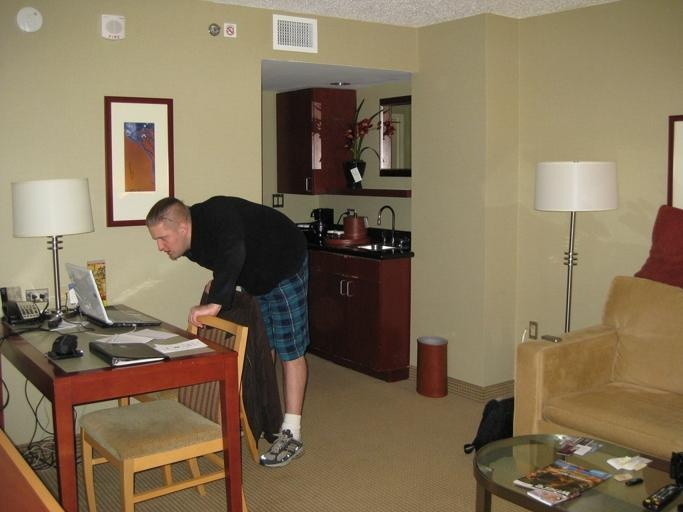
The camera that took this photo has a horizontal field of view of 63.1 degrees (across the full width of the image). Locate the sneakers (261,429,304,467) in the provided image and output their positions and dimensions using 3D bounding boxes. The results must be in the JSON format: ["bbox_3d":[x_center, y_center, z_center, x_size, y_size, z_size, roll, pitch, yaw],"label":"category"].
[{"bbox_3d":[-0.361,1.214,3.537,0.130,0.166,0.321,1,-1,31],"label":"sneakers"}]

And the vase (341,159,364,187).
[{"bbox_3d":[0.132,-0.828,5.538,0.246,0.269,0.250,0,-1,1],"label":"vase"}]

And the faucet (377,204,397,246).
[{"bbox_3d":[0.450,-0.316,5.401,0.167,0.365,0.435,2,10,6],"label":"faucet"}]

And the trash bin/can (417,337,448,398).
[{"bbox_3d":[0.746,0.926,4.552,0.237,0.445,0.129,2,10,6],"label":"trash bin/can"}]

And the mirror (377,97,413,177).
[{"bbox_3d":[0.509,-1.158,5.342,0.130,0.765,0.436,-6,12,-31],"label":"mirror"}]

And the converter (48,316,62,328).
[{"bbox_3d":[-1.667,0.367,3.211,0.040,0.053,0.135,-1,14,-4],"label":"converter"}]

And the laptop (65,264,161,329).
[{"bbox_3d":[-1.342,0.101,3.223,0.391,0.330,0.536,-1,6,-34],"label":"laptop"}]

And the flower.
[{"bbox_3d":[0.127,-1.245,5.661,0.683,0.538,0.791,11,15,34],"label":"flower"}]

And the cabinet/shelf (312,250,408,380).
[{"bbox_3d":[0.205,0.512,4.946,0.416,1.041,1.080,-2,4,-43],"label":"cabinet/shelf"}]
